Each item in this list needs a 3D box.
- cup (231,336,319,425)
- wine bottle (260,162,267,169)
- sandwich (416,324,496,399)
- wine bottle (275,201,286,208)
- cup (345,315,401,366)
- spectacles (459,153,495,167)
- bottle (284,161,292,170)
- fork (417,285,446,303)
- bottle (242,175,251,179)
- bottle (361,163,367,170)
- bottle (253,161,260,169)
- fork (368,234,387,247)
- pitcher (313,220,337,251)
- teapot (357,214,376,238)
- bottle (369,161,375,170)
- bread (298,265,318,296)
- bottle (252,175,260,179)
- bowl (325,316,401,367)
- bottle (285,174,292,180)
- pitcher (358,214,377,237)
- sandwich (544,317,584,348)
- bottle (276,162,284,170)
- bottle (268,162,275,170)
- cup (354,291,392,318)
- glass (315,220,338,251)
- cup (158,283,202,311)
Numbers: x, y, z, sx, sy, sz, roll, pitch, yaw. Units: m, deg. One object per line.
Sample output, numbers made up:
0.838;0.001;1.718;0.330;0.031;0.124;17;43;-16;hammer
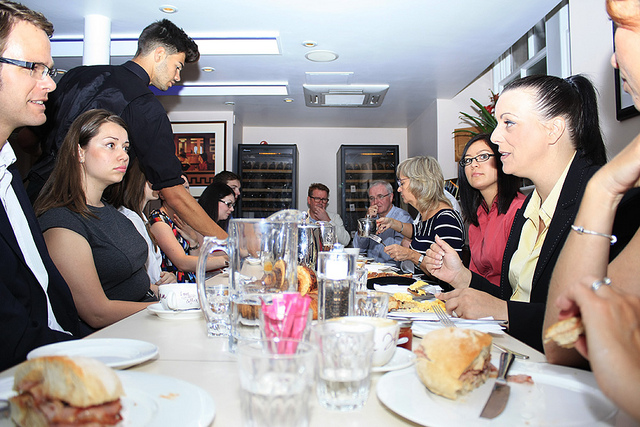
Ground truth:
-0.106;0.346;0.905;0.175;0.184;0.187;-1;-8;0;cup
-1.071;-0.908;7.620;0.120;0.120;0.048;-1;7;-8;wine bottle
0.379;0.367;1.027;0.292;0.132;0.132;-3;7;-30;sandwich
-0.757;-0.171;7.685;0.201;0.117;0.069;-2;7;-19;wine bottle
0.161;0.321;1.051;0.122;0.095;0.133;0;-8;0;cup
1.096;-0.374;2.811;0.088;0.095;0.263;-6;9;-42;spectacles
-0.613;-0.910;7.627;0.150;0.176;0.041;-2;-3;2;bottle
0.552;0.399;1.972;0.055;0.077;0.033;-1;-20;-39;fork
-1.403;-0.696;7.658;0.116;0.083;0.063;2;8;1;bottle
0.880;-0.917;7.851;0.122;0.111;0.053;-1;7;-9;bottle
-1.207;-0.908;7.585;0.103;0.100;0.106;0;1;13;bottle
0.617;0.296;4.287;0.313;0.043;0.063;33;-17;-23;fork
0.020;0.130;2.163;0.156;0.167;0.129;5;7;41;pitcher
0.431;0.132;3.647;0.145;0.166;0.188;1;-5;2;teapot
1.041;-0.942;7.845;0.086;0.125;0.043;-3;-3;-23;bottle
-0.041;0.233;1.385;0.028;0.089;0.066;-26;-20;36;bread
-1.220;-0.701;7.670;0.128;0.072;0.072;-2;2;1;bottle
0.098;0.358;1.083;0.178;0.109;0.182;3;-13;1;bowl
-0.608;-0.692;7.659;0.101;0.097;0.025;7;2;12;bottle
0.437;0.137;3.647;0.166;0.190;0.299;1;6;6;pitcher
0.590;0.277;0.975;0.073;0.075;0.021;-41;19;21;sandwich
-0.774;-0.902;7.623;0.124;0.129;0.030;-9;-14;31;bottle
-0.922;-0.908;7.625;0.108;0.119;0.055;0;7;-5;bottle
0.163;0.263;1.237;0.083;0.095;0.088;1;5;0;cup
0.046;0.117;2.137;0.114;0.147;0.150;-3;-3;-4;glass
-0.546;0.317;1.579;0.161;0.094;0.206;0;2;6;cup
